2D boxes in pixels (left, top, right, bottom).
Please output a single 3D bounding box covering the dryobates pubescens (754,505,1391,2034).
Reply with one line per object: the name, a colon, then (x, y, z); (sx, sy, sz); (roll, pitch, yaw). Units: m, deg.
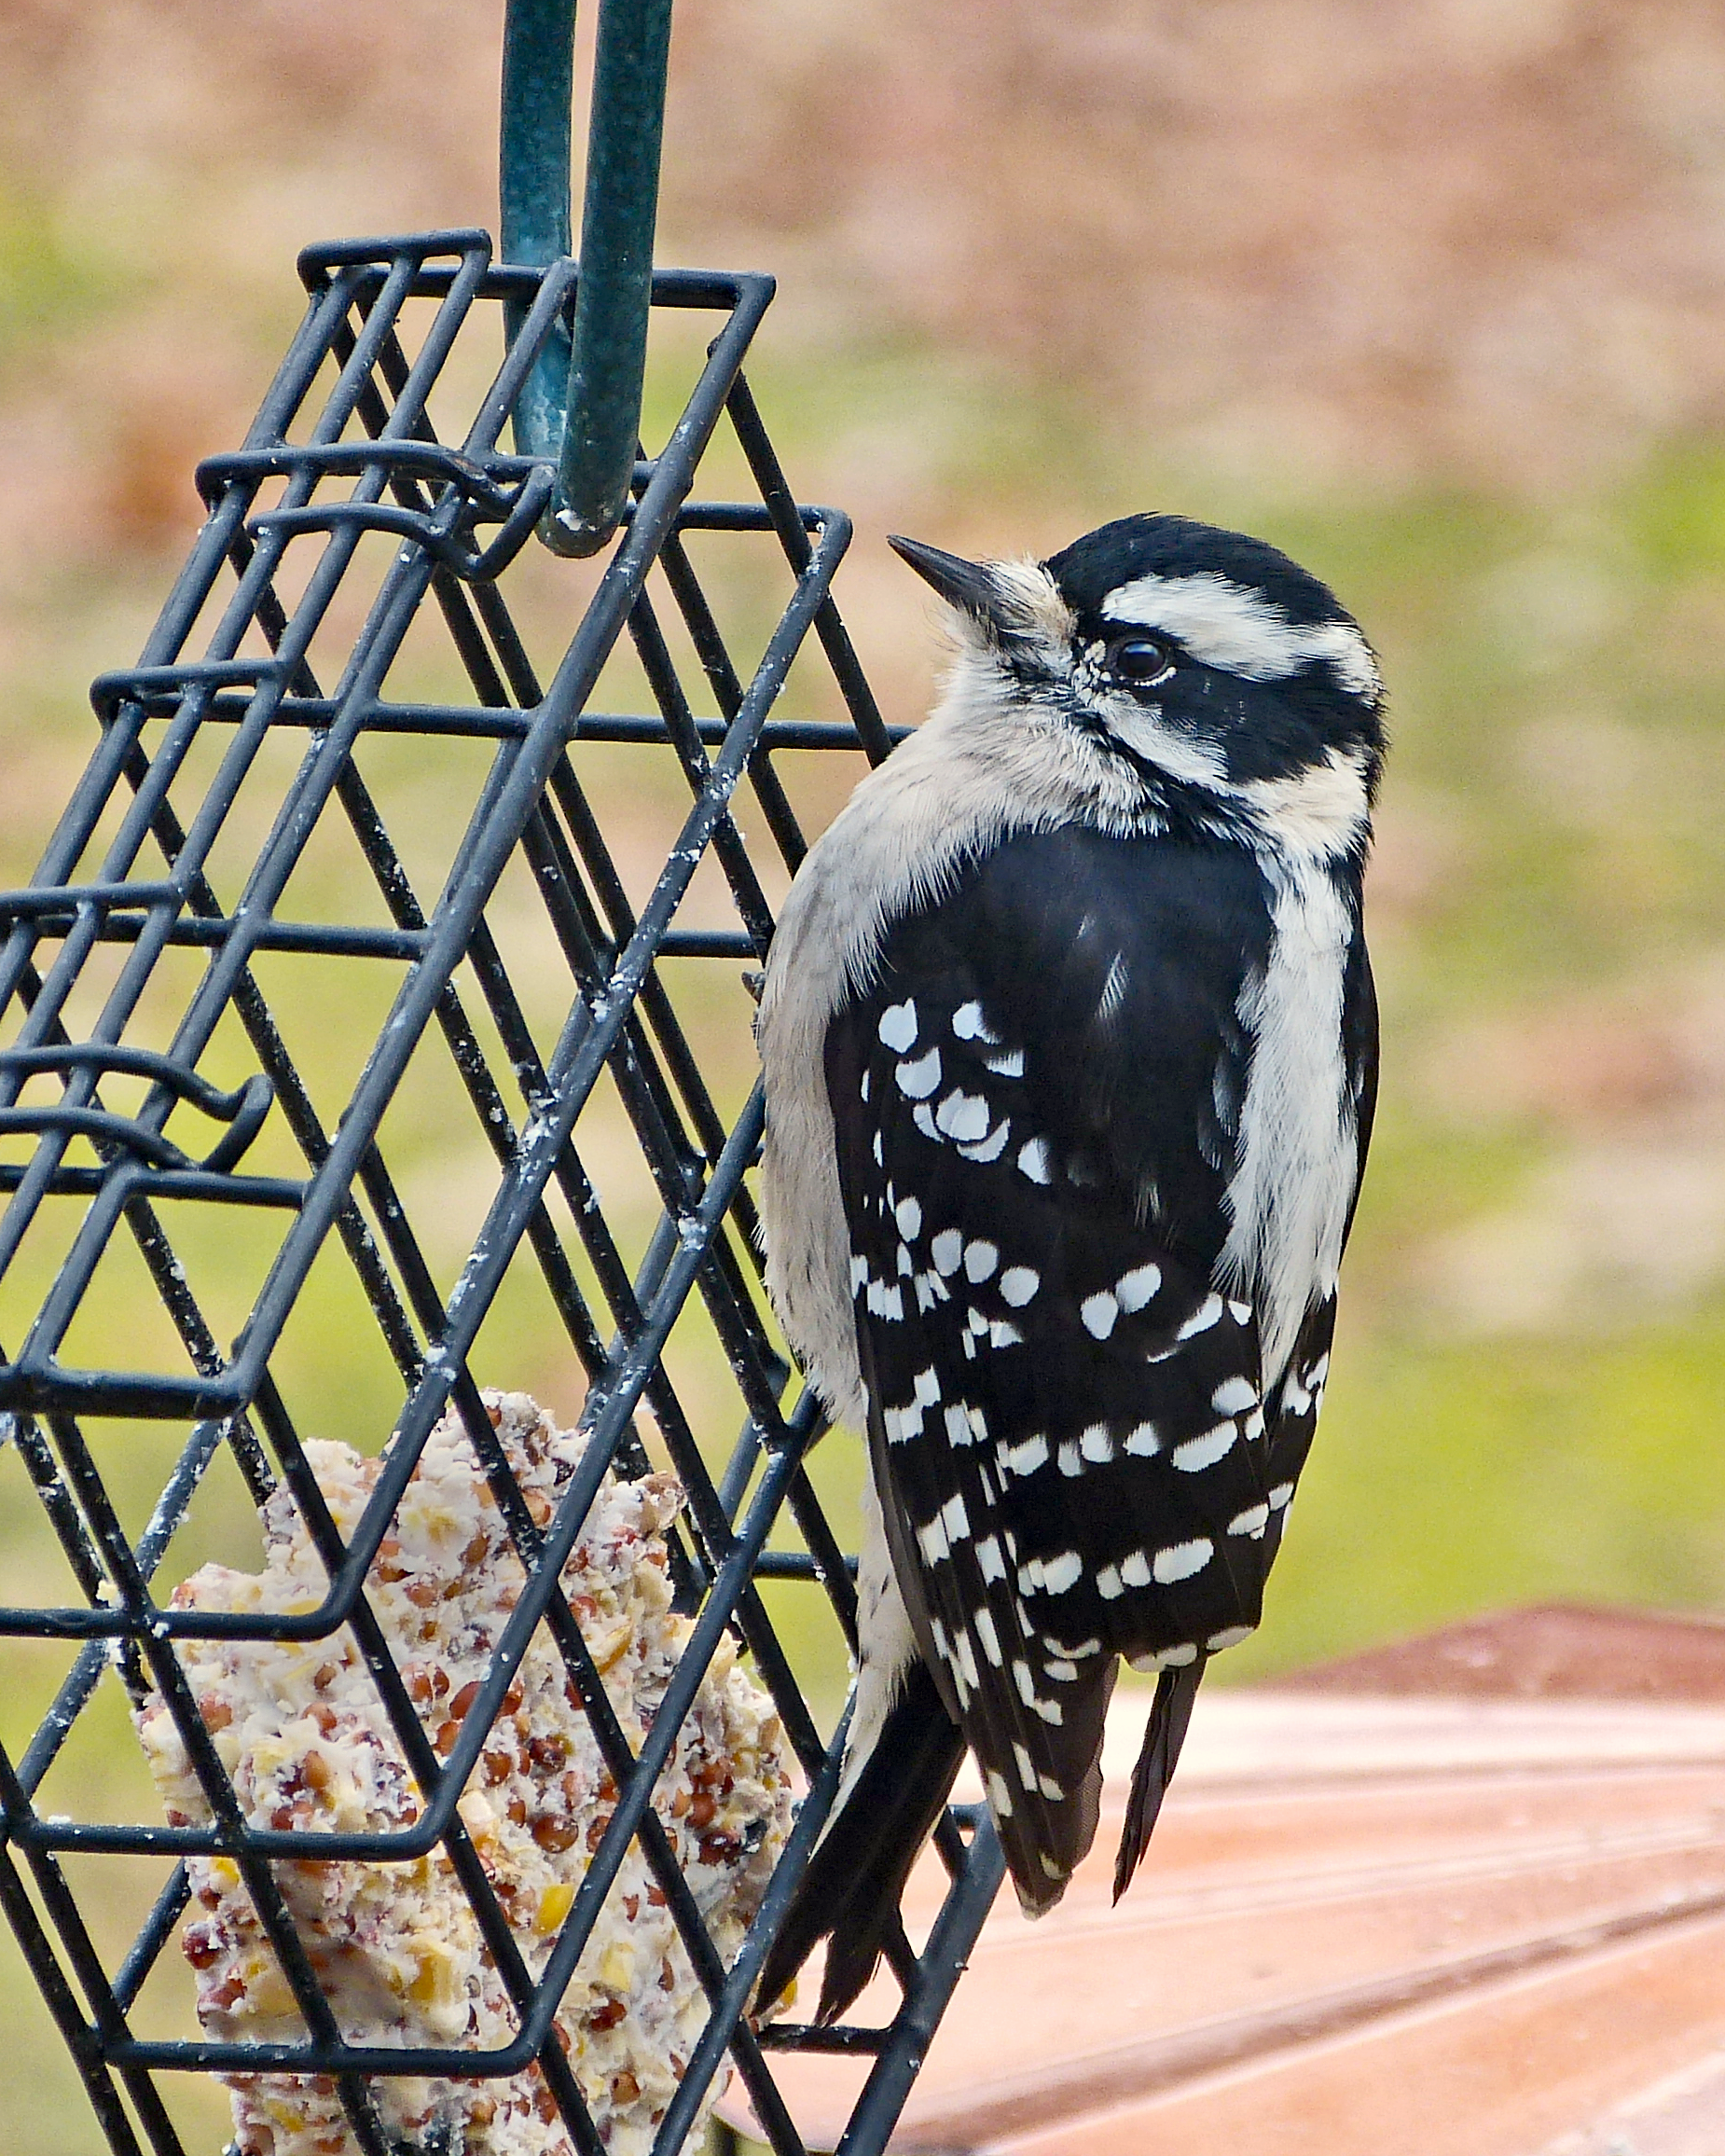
dryobates pubescens: (0.150, 0.099, 2.815); (0.463, 1.107, 0.316); (7, -12, -7)
